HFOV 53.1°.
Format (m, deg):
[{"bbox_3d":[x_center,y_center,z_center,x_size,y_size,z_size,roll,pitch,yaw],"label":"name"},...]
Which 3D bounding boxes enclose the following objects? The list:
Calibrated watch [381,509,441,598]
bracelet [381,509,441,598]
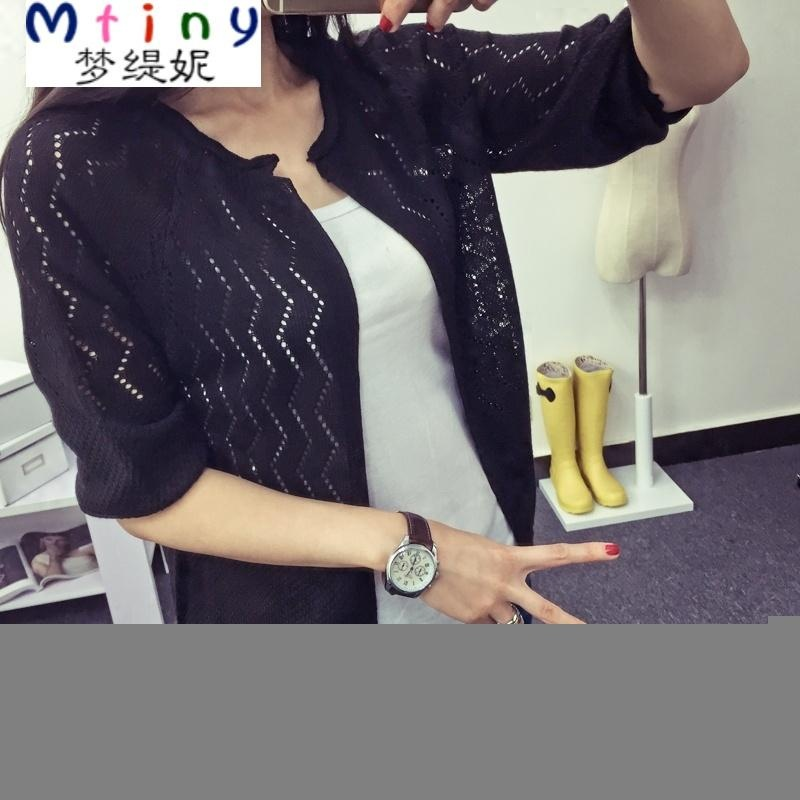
[{"bbox_3d":[0.009,0.105,0.518,0.030,0.051,0.039,-1,20,15],"label":"Calibrated watch"},{"bbox_3d":[0.016,0.102,0.552,0.030,0.050,0.051,15,38,-8],"label":"bracelet"}]
